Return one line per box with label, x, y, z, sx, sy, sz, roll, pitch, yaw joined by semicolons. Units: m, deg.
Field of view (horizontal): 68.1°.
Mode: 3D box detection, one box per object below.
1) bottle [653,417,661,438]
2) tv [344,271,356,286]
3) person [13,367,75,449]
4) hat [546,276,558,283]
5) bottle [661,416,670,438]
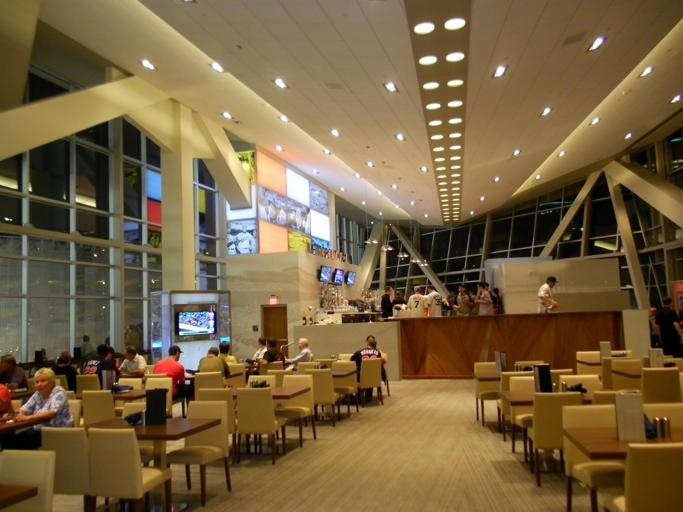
bottle;2.795;1.535;4.492;0.037;0.159;0.082;-3;-4;21
tv;0.442;1.003;23.378;0.481;0.770;1.010;2;-2;15
person;-3.408;1.784;5.731;0.832;0.977;0.506;-4;-4;24
hat;5.022;0.565;12.105;0.168;0.185;0.139;-14;14;-15
bottle;2.881;1.529;4.498;0.076;0.159;0.193;-5;-5;44
